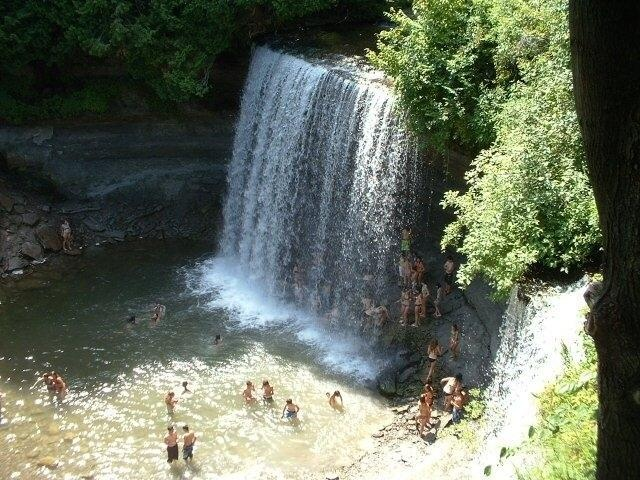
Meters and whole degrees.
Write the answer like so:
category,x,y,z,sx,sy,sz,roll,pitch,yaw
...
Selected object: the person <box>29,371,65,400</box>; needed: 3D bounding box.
category,x,y,z,sx,sy,sz,roll,pitch,yaw
person,-8.100,4.268,16.408,1.093,0.662,0.265,10,14,38
